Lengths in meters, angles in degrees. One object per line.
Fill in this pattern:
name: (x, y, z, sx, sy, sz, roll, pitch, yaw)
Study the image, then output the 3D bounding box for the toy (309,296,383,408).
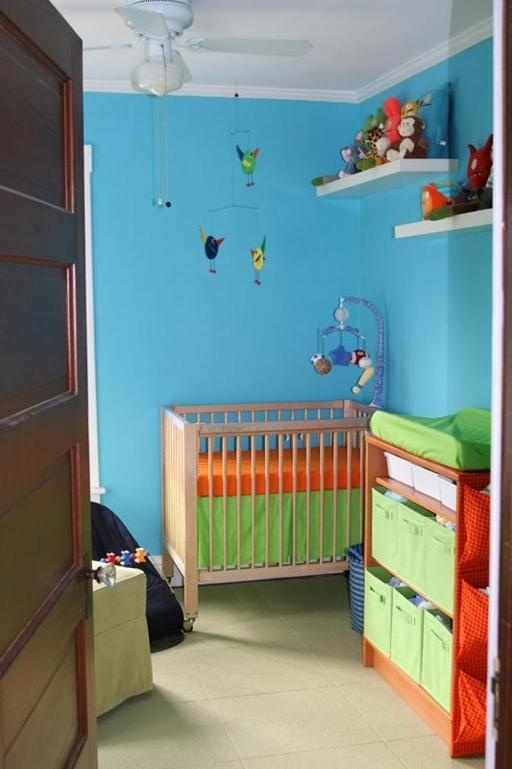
toy: (0.498, -0.173, 3.451, 0.400, 0.608, 0.506, -1, 2, -4)

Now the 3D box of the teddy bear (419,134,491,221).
teddy bear: (0.689, -0.750, 2.305, 0.287, 0.291, 0.206, -1, 10, 14)

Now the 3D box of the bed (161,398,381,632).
bed: (0.069, 0.540, 3.264, 1.177, 1.155, 0.904, -1, 1, -16)
